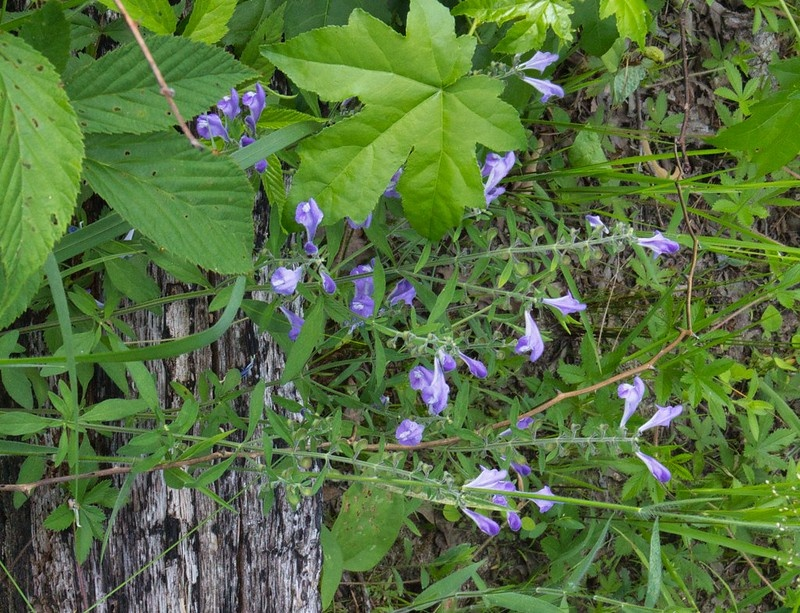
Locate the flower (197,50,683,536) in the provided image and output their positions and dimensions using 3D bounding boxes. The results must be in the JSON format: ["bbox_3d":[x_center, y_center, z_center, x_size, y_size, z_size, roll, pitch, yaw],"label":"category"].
[{"bbox_3d":[0.224,0.138,2.302,1.346,1.337,1.082,-13,55,-20],"label":"flower"}]
